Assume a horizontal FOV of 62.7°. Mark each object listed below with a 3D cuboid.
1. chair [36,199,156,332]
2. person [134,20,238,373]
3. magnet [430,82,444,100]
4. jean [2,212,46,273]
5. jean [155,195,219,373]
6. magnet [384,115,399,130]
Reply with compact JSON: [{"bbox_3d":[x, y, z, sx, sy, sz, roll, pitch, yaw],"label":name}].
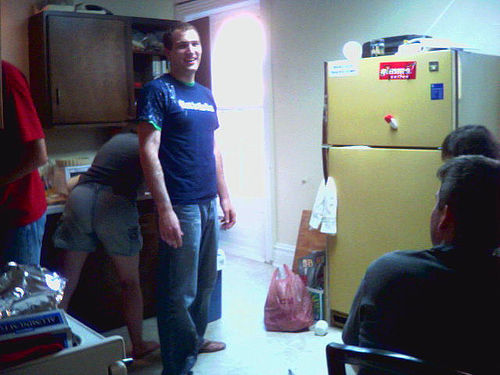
[{"bbox_3d":[-1.049,0.548,3.414,1.200,1.131,0.675,-9,-19,-6],"label":"chair"},{"bbox_3d":[-0.421,0.088,2.535,0.346,2.160,0.568,5,12,23],"label":"person"},{"bbox_3d":[1.157,-0.597,2.535,0.083,0.103,0.024,4,12,19],"label":"magnet"},{"bbox_3d":[-1.168,0.282,2.120,0.141,0.234,0.249,-1,12,-4],"label":"jean"},{"bbox_3d":[-0.359,0.583,2.548,0.448,1.008,0.310,-5,12,-26],"label":"jean"},{"bbox_3d":[0.924,-0.430,2.689,0.029,0.055,0.102,8,43,-54],"label":"magnet"}]
